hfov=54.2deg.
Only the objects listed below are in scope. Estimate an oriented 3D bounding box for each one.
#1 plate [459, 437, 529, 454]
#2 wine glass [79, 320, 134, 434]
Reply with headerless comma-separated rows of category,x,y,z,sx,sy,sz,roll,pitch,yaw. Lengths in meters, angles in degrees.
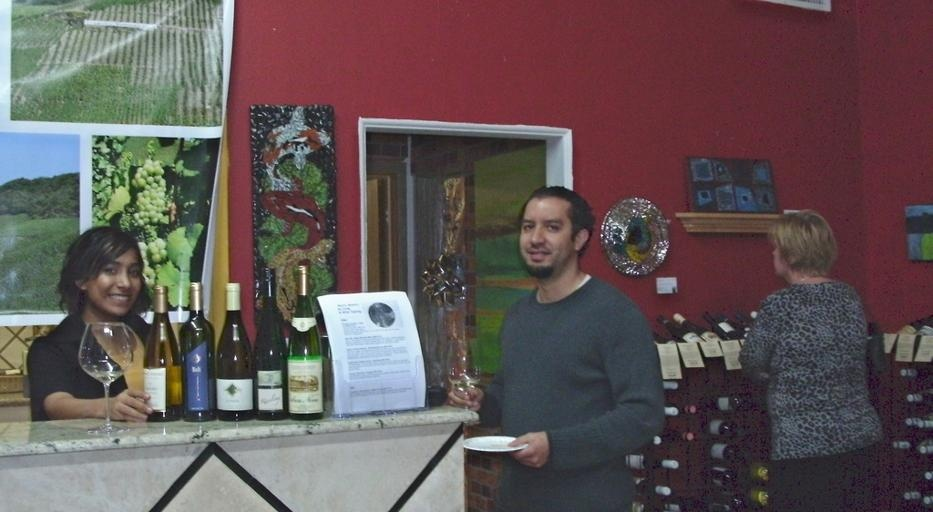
plate,0.144,0.982,4.711,0.332,0.098,0.266,0,-1,-2
wine glass,-1.775,0.590,4.501,0.283,0.522,0.205,-1,-2,39
